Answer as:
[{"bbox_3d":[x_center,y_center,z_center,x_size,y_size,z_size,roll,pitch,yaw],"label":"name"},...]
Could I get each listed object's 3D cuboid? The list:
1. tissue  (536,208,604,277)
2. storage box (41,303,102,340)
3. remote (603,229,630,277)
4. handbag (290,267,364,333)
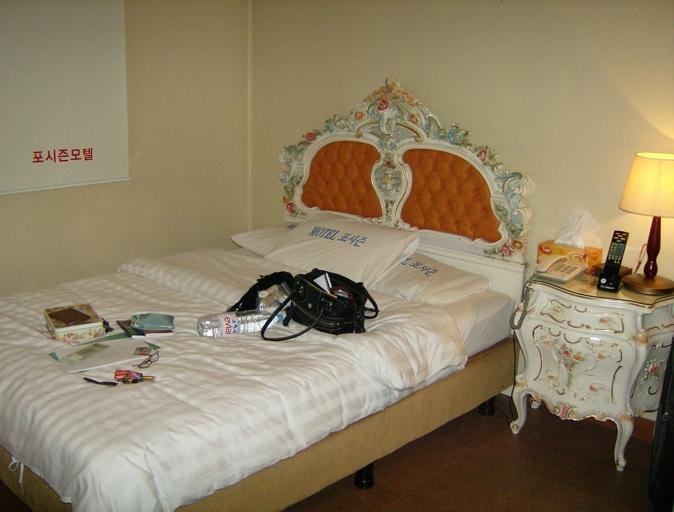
[{"bbox_3d":[1.502,-0.081,3.213,0.149,0.424,0.371,6,4,-44],"label":"tissue "},{"bbox_3d":[-1.382,0.357,2.668,0.190,0.088,0.245,-6,20,-31],"label":"storage box"},{"bbox_3d":[1.592,-0.016,2.876,0.079,0.030,0.342,17,57,25],"label":"remote"},{"bbox_3d":[-0.028,0.242,2.761,0.301,0.170,0.369,26,15,39],"label":"handbag"}]
